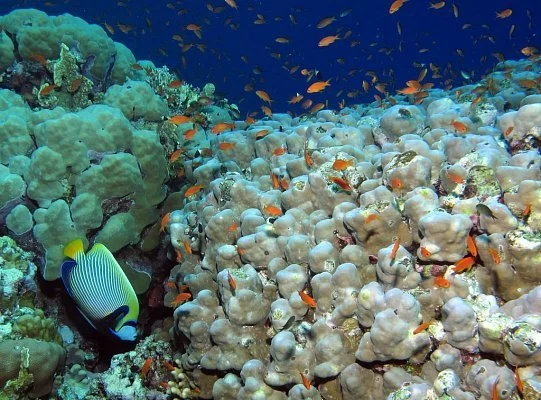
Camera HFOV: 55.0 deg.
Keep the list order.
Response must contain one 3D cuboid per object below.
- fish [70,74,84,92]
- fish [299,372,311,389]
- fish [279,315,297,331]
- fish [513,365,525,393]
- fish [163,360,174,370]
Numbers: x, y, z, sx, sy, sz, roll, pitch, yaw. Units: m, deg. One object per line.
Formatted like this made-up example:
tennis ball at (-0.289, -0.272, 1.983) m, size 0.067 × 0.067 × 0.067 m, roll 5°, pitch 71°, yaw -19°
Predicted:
fish at (-3.942, -2.369, 10.558) m, size 0.069 × 0.156 × 0.350 m, roll 19°, pitch 85°, yaw 19°
fish at (0.493, 2.586, 7.545) m, size 0.132 × 0.325 × 0.087 m, roll -10°, pitch 97°, yaw -14°
fish at (0.268, 1.830, 7.764) m, size 0.388 × 0.101 × 0.096 m, roll -59°, pitch 35°, yaw 15°
fish at (3.351, 2.415, 7.029) m, size 0.077 × 0.141 × 0.366 m, roll -8°, pitch 94°, yaw 14°
fish at (-1.756, 2.832, 8.941) m, size 0.105 × 0.302 × 0.135 m, roll -25°, pitch 76°, yaw -20°
